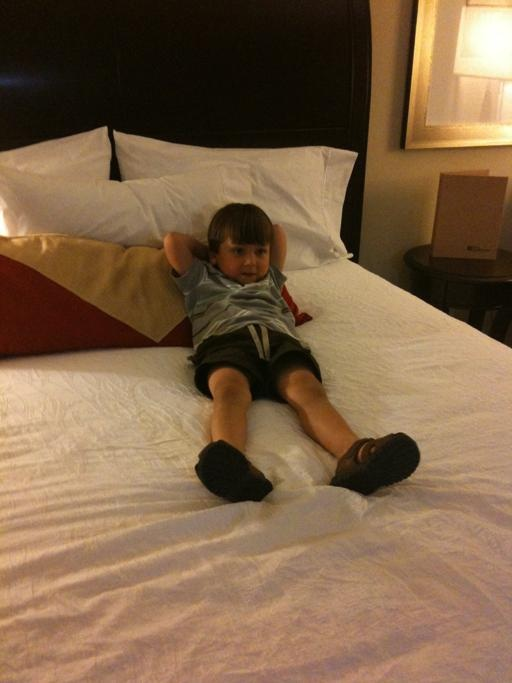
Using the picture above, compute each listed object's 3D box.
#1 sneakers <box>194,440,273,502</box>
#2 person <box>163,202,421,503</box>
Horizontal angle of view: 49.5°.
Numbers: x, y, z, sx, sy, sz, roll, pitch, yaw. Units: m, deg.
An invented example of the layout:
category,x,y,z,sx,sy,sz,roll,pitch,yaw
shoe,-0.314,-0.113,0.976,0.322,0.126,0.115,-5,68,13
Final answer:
category,x,y,z,sx,sy,sz,roll,pitch,yaw
sneakers,-0.025,0.188,0.812,0.116,0.065,0.038,38,-5,-22
person,0.018,-0.022,1.163,0.347,0.200,0.836,-3,34,-12
